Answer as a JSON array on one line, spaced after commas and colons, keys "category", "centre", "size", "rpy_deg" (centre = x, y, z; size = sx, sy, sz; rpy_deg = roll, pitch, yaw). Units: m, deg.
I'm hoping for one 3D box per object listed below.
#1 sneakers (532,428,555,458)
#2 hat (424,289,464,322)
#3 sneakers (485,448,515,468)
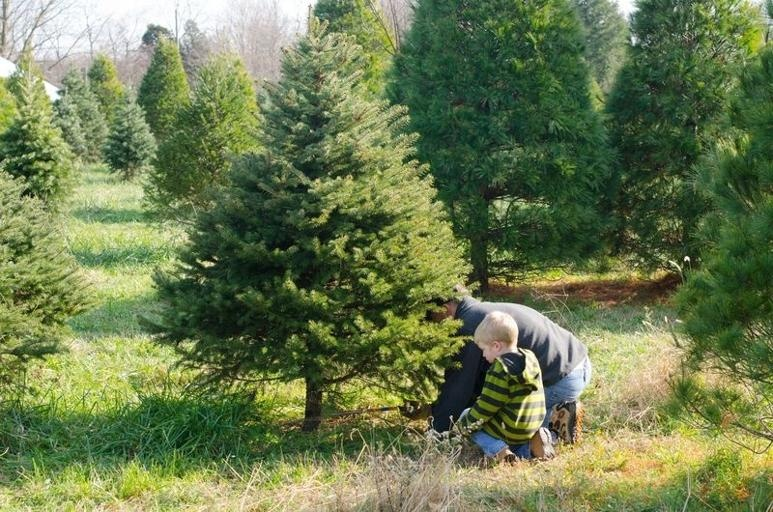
[{"category": "sneakers", "centre": [1.859, 2.233, 11.044], "size": [0.214, 0.389, 0.173], "rpy_deg": [3, -13, -15]}, {"category": "hat", "centre": [0.693, 0.622, 11.292], "size": [0.443, 0.245, 0.366], "rpy_deg": [-17, 6, -3]}, {"category": "sneakers", "centre": [1.352, 2.354, 10.991], "size": [0.260, 0.222, 0.117], "rpy_deg": [-6, 32, -6]}]
